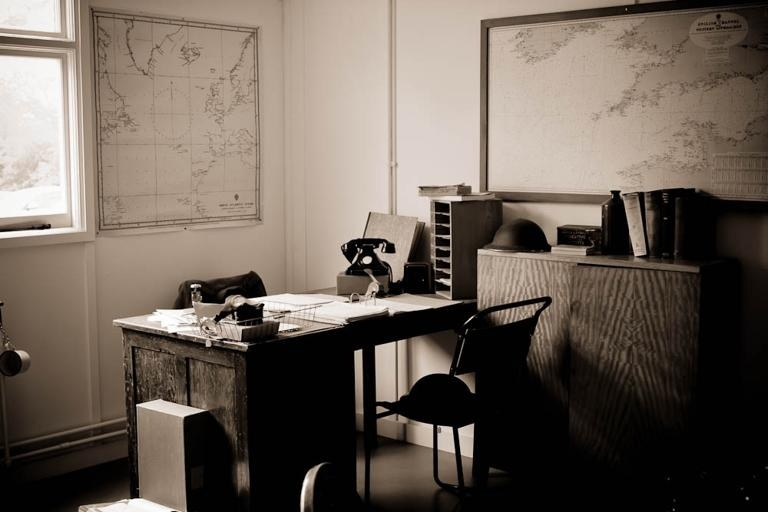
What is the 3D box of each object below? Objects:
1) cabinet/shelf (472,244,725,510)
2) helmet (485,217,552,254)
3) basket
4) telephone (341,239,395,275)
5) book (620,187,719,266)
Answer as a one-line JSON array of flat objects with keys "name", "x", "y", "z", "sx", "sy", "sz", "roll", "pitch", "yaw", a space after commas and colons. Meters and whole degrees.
[{"name": "cabinet/shelf", "x": 1.321, "y": 0.689, "z": 3.456, "sx": 1.538, "sy": 1.627, "sz": 0.565, "roll": 6, "pitch": 6, "yaw": 40}, {"name": "helmet", "x": 0.865, "y": -0.152, "z": 3.812, "sx": 0.254, "sy": 0.117, "sz": 0.273, "roll": -3, "pitch": 6, "yaw": -28}, {"name": "basket", "x": -0.789, "y": 0.340, "z": 3.081, "sx": 0.315, "sy": 0.114, "sz": 0.243, "roll": 8, "pitch": 11, "yaw": 36}, {"name": "telephone", "x": -0.108, "y": 0.009, "z": 4.181, "sx": 0.385, "sy": 0.260, "sz": 0.205, "roll": -1, "pitch": 0, "yaw": 14}, {"name": "book", "x": 1.713, "y": -0.189, "z": 3.420, "sx": 0.527, "sy": 0.398, "sz": 0.254, "roll": -2, "pitch": 8, "yaw": -3}]
